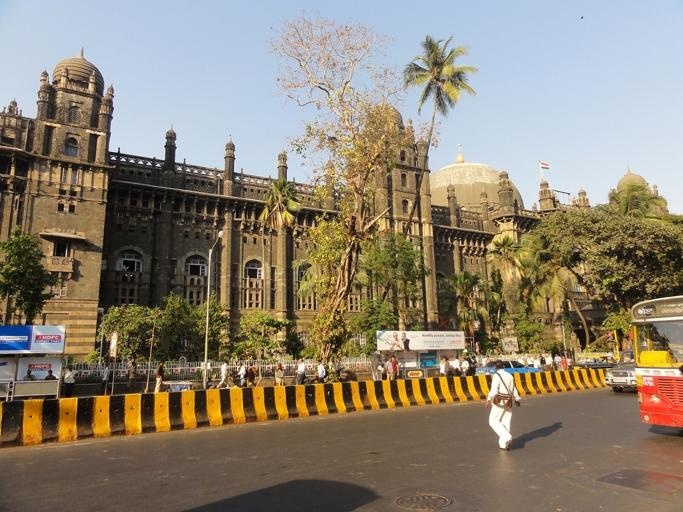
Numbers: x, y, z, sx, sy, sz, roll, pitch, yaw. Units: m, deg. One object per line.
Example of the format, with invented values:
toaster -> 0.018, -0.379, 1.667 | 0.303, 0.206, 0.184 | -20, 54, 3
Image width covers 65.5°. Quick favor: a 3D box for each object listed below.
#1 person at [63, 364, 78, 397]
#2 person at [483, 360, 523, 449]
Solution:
person -> -14.580, 6.725, 28.446 | 0.598, 1.589, 3.433 | 3, -13, -26
person -> 4.364, 4.036, 14.436 | 0.868, 2.319, 0.532 | 4, -13, -32
